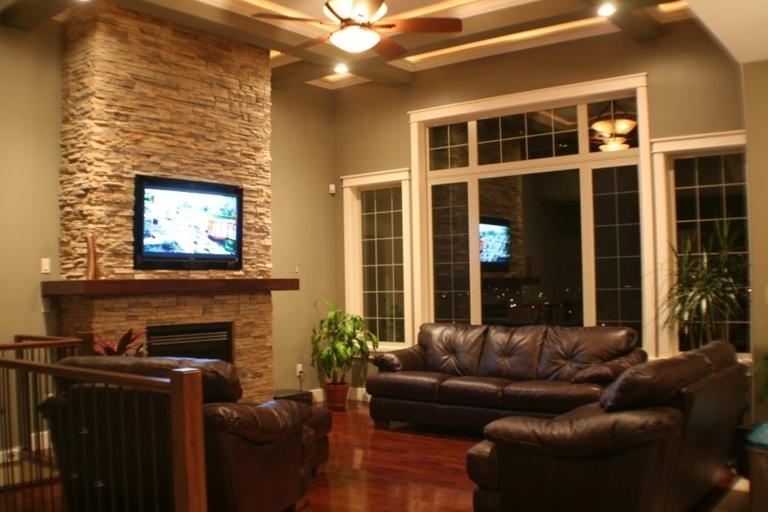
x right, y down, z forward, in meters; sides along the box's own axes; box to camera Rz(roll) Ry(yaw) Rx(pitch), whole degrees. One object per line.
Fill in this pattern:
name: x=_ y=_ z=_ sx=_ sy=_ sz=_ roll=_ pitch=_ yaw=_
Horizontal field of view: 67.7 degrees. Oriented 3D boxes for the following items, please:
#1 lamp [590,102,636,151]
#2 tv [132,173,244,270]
lamp: x=2.754 y=-1.517 z=7.131 sx=0.632 sy=0.552 sz=0.559 roll=-2 pitch=-14 yaw=18
tv: x=-2.216 y=-0.373 z=6.314 sx=1.299 sy=0.943 sz=0.134 roll=3 pitch=-6 yaw=-40
